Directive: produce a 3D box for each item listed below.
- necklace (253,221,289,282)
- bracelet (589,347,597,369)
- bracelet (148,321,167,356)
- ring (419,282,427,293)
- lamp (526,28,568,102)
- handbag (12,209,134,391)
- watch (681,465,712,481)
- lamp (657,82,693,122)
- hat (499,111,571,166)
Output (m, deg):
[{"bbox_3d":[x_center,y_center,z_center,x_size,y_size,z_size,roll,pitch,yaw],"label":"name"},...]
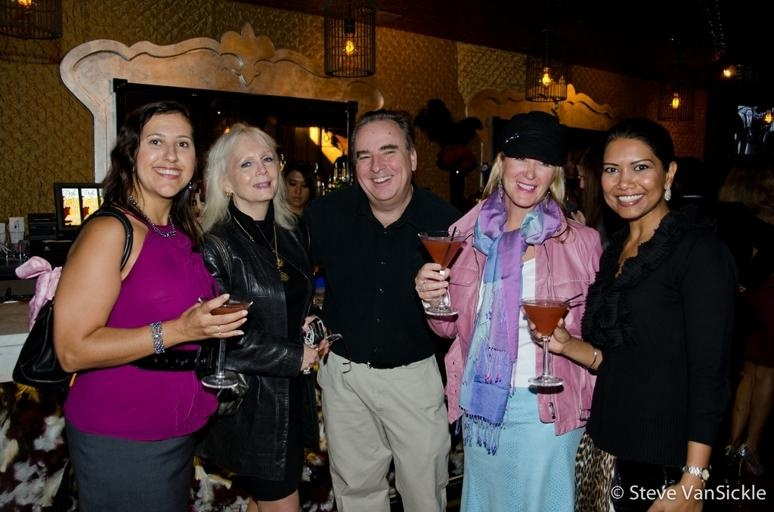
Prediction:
[{"bbox_3d":[-0.675,-0.021,3.306,0.113,0.040,0.348,-2,54,-43],"label":"necklace"},{"bbox_3d":[1.150,0.567,3.016,0.018,0.075,0.066,16,5,10],"label":"bracelet"},{"bbox_3d":[-1.087,0.386,2.580,0.086,0.140,0.125,-9,-1,-4],"label":"bracelet"},{"bbox_3d":[0.204,0.176,3.083,0.036,0.033,0.043,0,4,-12],"label":"ring"},{"bbox_3d":[2.919,-3.258,9.974,0.795,0.971,2.137,6,8,17],"label":"lamp"},{"bbox_3d":[-1.526,0.214,2.647,0.550,0.925,0.247,1,7,-18],"label":"handbag"},{"bbox_3d":[1.489,1.015,2.592,0.086,0.037,0.087,5,0,11],"label":"watch"},{"bbox_3d":[6.881,-3.646,12.983,1.108,0.799,0.383,-2,9,-40],"label":"lamp"},{"bbox_3d":[0.868,-0.716,3.219,0.416,0.288,0.589,11,15,7],"label":"hat"}]
